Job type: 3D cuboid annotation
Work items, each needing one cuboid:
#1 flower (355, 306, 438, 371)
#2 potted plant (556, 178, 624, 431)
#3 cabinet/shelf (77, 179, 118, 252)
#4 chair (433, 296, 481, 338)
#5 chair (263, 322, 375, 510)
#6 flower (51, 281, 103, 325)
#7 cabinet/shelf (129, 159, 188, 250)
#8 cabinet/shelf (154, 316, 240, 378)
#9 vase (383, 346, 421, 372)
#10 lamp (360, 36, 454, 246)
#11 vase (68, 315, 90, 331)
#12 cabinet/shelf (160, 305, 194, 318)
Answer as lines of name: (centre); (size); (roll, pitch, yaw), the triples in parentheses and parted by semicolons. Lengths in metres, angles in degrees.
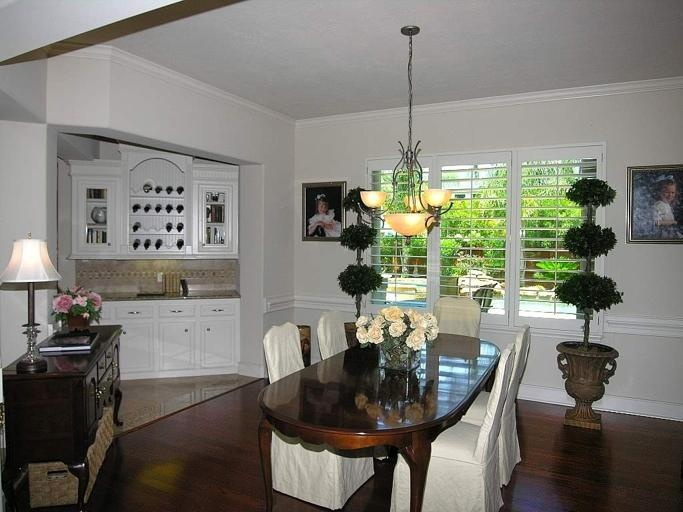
flower: (0.411, 0.553, 3.385); (0.486, 0.347, 0.493); (0, -5, 13)
potted plant: (2.358, 0.423, 4.614); (0.627, 2.300, 0.675); (9, 12, 31)
cabinet/shelf: (-2.951, -0.465, 5.795); (0.483, 0.890, 0.203); (0, 11, -17)
chair: (1.174, 0.605, 4.804); (0.342, 0.604, 0.416); (-1, -3, 19)
chair: (-0.145, 1.192, 4.147); (1.082, 1.649, 1.045); (-1, -2, 27)
flower: (-2.061, 0.383, 3.830); (0.344, 0.251, 0.348); (2, 0, -8)
cabinet/shelf: (-2.270, -0.618, 5.976); (0.694, 1.163, 0.292); (0, 11, -19)
cabinet/shelf: (-1.812, 0.889, 6.068); (1.094, 0.792, 0.594); (0, -2, -21)
vase: (0.439, 0.726, 3.517); (0.195, 0.192, 0.199); (-1, -3, 33)
lamp: (0.575, -0.997, 3.826); (0.788, 1.679, 0.768); (-1, 4, -30)
vase: (-2.053, 0.529, 3.772); (0.121, 0.098, 0.137); (-2, 5, -40)
cabinet/shelf: (-1.948, 0.662, 5.729); (0.252, 0.113, 0.169); (1, -3, -30)
